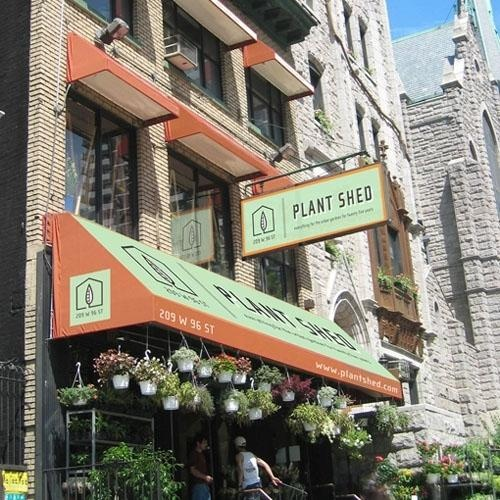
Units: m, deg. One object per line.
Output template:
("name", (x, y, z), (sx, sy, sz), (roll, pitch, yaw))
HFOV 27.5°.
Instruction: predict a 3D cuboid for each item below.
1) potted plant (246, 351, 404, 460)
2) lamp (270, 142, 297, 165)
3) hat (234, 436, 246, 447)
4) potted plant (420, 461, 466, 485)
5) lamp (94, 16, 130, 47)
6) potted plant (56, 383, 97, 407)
("potted plant", (1.447, 2.980, 19.615), (2.508, 0.969, 1.749), (8, -10, 2))
("lamp", (0.740, -2.207, 22.942), (0.512, 0.144, 0.569), (-34, -25, 18))
("hat", (-0.156, 3.382, 17.961), (0.217, 0.135, 0.285), (6, 10, 0))
("potted plant", (4.000, 4.552, 21.074), (0.549, 0.566, 1.044), (-18, -26, 39))
("lamp", (-2.493, -3.965, 18.437), (0.582, 0.495, 0.938), (-1, -17, -9))
("potted plant", (-2.613, 2.190, 15.478), (0.635, 0.325, 0.367), (-13, -19, 28))
